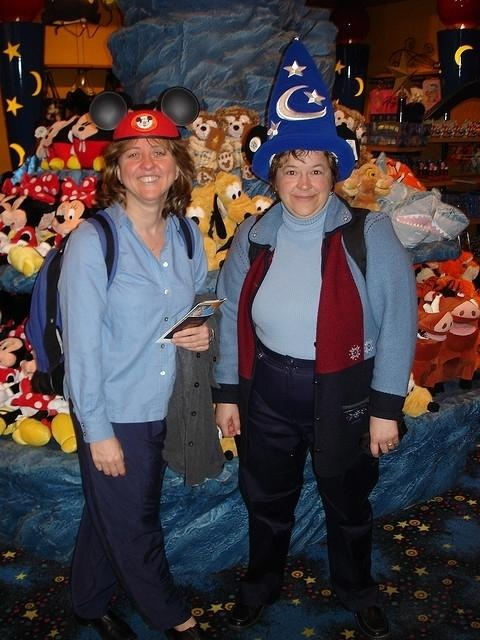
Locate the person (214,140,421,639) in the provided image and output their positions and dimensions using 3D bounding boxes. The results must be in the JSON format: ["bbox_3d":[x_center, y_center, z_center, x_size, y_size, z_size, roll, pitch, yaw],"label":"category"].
[{"bbox_3d":[0.182,0.295,1.469,0.592,1.496,0.336,2,12,12],"label":"person"}]

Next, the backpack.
[{"bbox_3d":[-0.356,-0.147,1.380,0.489,0.413,0.298,-19,43,-28],"label":"backpack"}]

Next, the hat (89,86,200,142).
[{"bbox_3d":[-0.391,-0.781,1.906,0.309,0.122,0.467,8,27,40],"label":"hat"}]

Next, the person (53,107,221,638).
[{"bbox_3d":[-0.256,0.221,1.348,0.433,1.487,0.334,-5,12,-19],"label":"person"}]

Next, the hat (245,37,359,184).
[{"bbox_3d":[0.160,-0.559,1.334,0.290,0.364,0.233,3,11,15],"label":"hat"}]
